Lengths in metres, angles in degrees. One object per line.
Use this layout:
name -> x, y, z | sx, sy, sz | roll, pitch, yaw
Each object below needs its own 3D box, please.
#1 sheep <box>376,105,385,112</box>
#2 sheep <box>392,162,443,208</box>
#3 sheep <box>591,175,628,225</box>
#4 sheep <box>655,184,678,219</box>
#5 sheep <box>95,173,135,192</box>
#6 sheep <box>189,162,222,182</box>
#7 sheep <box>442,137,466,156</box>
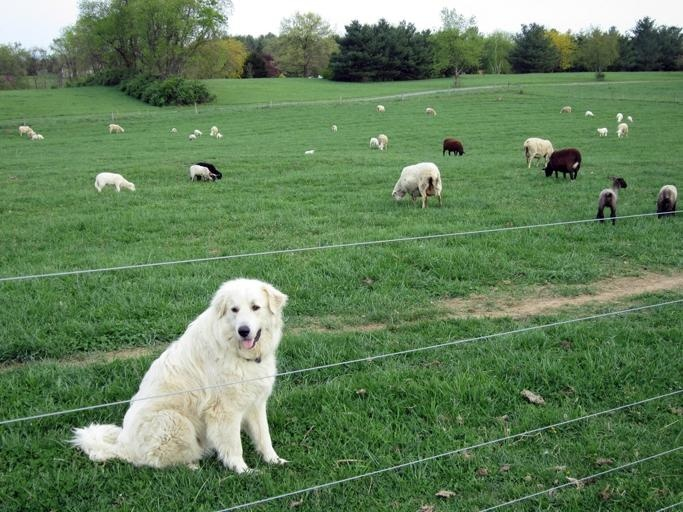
sheep -> 3.245, -12.408, 62.323 | 0.318, 0.657, 1.218 | 6, 19, 14
sheep -> 2.836, -2.663, 27.007 | 1.003, 1.540, 1.835 | -8, 17, -34
sheep -> 9.289, -1.891, 25.782 | 0.691, 1.775, 3.110 | 9, 30, 26
sheep -> 10.730, -1.761, 24.578 | 0.577, 1.158, 2.202 | 3, 28, 20
sheep -> -9.485, -3.096, 30.860 | 1.502, 0.776, 2.476 | -7, 17, -31
sheep -> -6.157, -3.785, 32.854 | 1.713, 0.945, 0.616 | 2, 31, -11
sheep -> 6.071, -5.953, 40.654 | 1.161, 0.869, 2.160 | 3, 14, 8
